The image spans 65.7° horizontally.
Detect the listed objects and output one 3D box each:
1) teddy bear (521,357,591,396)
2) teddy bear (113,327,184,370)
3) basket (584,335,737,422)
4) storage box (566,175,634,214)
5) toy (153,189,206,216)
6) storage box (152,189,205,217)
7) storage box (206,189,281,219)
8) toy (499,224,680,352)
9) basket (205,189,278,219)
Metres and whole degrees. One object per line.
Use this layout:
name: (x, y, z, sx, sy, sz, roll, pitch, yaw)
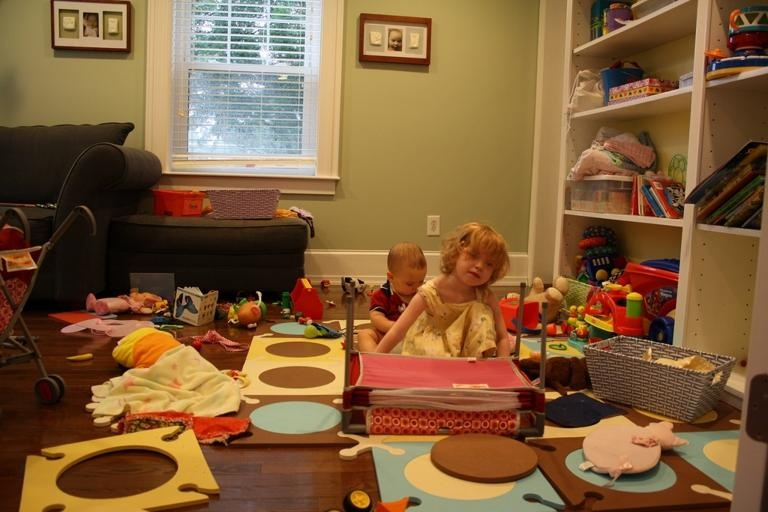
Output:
teddy bear: (0.718, 0.486, 2.454, 0.223, 0.073, 0.162, 5, 3, -11)
teddy bear: (-0.975, 0.398, 2.454, 0.190, 0.156, 0.353, -7, 14, -43)
basket: (1.055, 0.481, 2.309, 0.312, 0.209, 0.465, -6, 12, -40)
storage box: (1.151, -0.335, 3.188, 0.209, 0.133, 0.279, -2, 5, -26)
toy: (-1.294, -0.341, 3.764, 0.190, 0.129, 0.256, 1, 3, -36)
storage box: (-1.321, -0.345, 3.791, 0.262, 0.139, 0.193, 5, 8, 16)
storage box: (-0.847, -0.314, 3.635, 0.299, 0.117, 0.225, 1, -3, -8)
toy: (1.057, 0.134, 3.059, 0.472, 0.707, 0.824, -1, 6, -12)
basket: (-0.844, -0.291, 3.604, 0.297, 0.115, 0.224, 1, -3, -9)
